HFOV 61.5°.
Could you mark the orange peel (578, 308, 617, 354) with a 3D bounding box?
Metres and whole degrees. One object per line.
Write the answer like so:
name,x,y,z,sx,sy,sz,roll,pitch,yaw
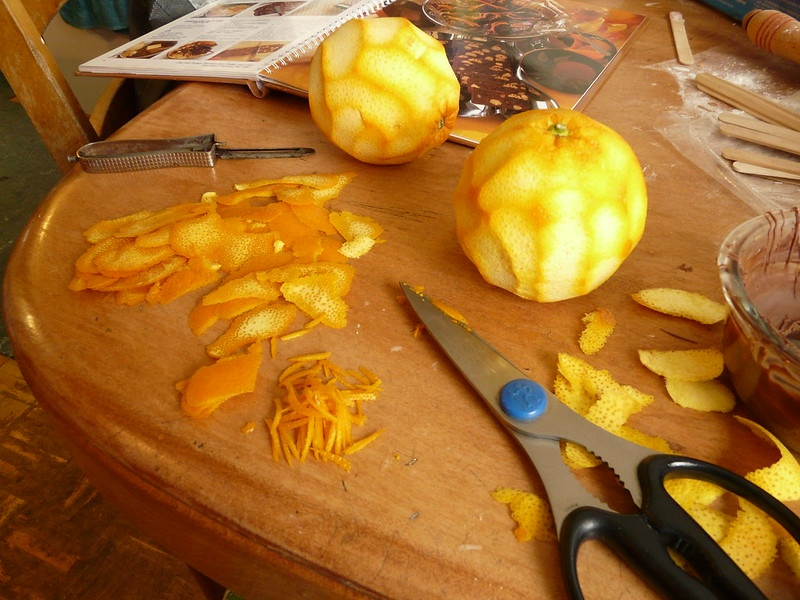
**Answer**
orange peel,0.218,0.035,0.746,0.044,0.011,0.051,27,58,24
